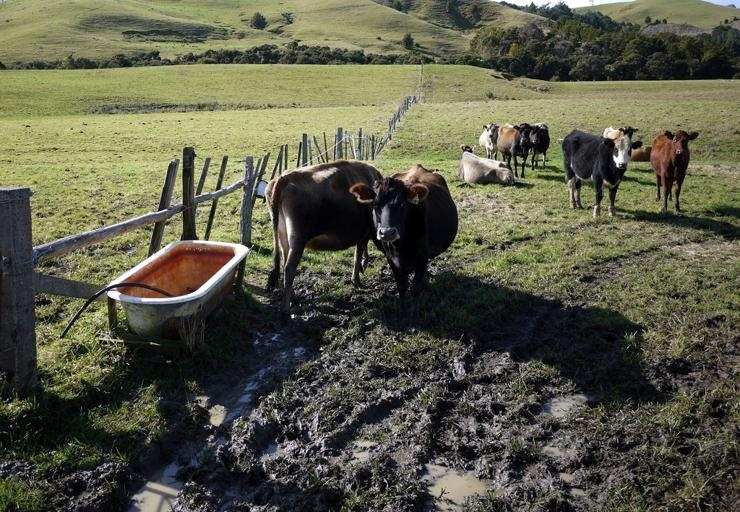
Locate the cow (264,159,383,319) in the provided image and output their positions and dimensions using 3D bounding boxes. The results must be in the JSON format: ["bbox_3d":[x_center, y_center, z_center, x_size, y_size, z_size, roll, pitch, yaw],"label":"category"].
[{"bbox_3d":[-0.586,-0.533,10.175,1.297,2.369,3.119,18,20,40],"label":"cow"}]

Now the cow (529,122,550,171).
[{"bbox_3d":[6.156,-3.994,19.482,0.685,1.358,2.395,3,-3,20],"label":"cow"}]

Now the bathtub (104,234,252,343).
[{"bbox_3d":[-2.851,0.578,8.249,1.312,1.146,1.927,5,18,11],"label":"bathtub"}]

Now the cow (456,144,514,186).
[{"bbox_3d":[3.679,-2.631,17.382,2.096,1.208,0.952,14,30,40],"label":"cow"}]

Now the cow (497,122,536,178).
[{"bbox_3d":[5.276,-3.946,19.850,0.942,1.710,2.893,-1,11,0],"label":"cow"}]
